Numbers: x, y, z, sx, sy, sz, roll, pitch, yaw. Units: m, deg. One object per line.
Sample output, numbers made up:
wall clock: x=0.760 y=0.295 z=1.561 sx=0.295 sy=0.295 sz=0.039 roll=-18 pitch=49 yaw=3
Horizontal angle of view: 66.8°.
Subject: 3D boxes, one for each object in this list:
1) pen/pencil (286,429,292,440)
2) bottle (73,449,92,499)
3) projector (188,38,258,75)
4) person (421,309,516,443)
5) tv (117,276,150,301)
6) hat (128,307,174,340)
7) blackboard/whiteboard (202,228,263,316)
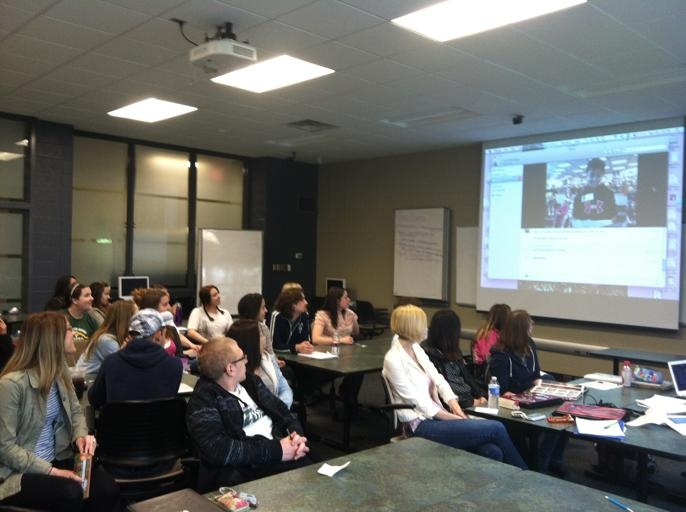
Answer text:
pen/pencil: x=-0.346 y=1.164 z=3.411 sx=0.027 sy=0.025 sz=0.093 roll=-28 pitch=16 yaw=0
bottle: x=-1.450 y=1.233 z=2.927 sx=0.052 sy=0.200 sz=0.192 roll=3 pitch=-5 yaw=-17
projector: x=-1.036 y=-1.735 z=4.494 sx=0.518 sy=0.197 sz=0.331 roll=1 pitch=1 yaw=31
person: x=1.068 y=0.855 z=4.526 sx=0.697 sy=1.143 sz=0.708 roll=-5 pitch=0 yaw=26
tv: x=-2.896 y=0.440 z=7.176 sx=0.316 sy=0.227 sz=0.093 roll=5 pitch=-13 yaw=-44
hat: x=-1.364 y=0.498 z=3.780 sx=0.201 sy=0.131 sz=0.322 roll=11 pitch=17 yaw=20
blackboard/whiteboard: x=-1.804 y=0.231 z=8.312 sx=1.386 sy=1.916 sz=0.181 roll=7 pitch=-11 yaw=-42
